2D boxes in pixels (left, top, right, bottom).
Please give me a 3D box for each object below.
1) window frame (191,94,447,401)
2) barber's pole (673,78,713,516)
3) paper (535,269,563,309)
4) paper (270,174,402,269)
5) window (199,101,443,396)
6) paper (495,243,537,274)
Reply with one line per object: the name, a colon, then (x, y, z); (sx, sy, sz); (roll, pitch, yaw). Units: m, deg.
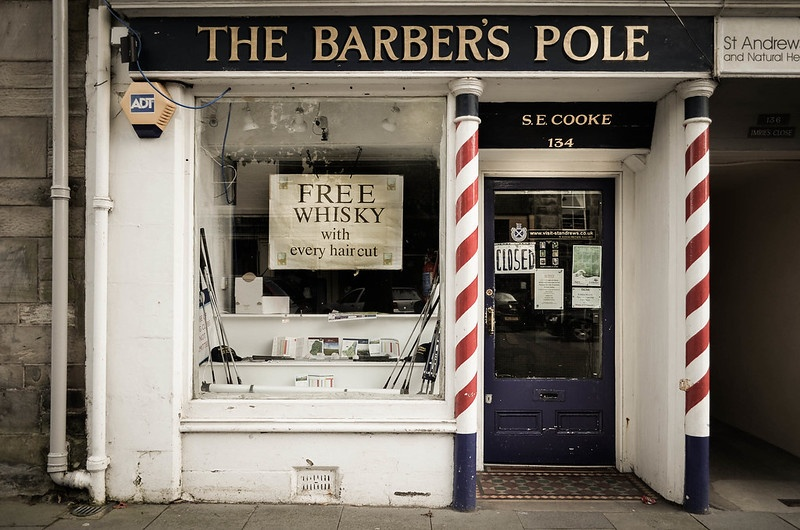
window frame: (-0.855, -0.146, 11.427); (3.241, 3.721, 0.093); (0, 0, 3)
barber's pole: (2.943, 0.215, 11.132); (0.550, 4.493, 0.428); (2, -5, -8)
paper: (1.576, 0.276, 11.813); (0.434, 0.553, 0.114); (1, -3, -3)
paper: (-0.683, -0.442, 11.547); (1.026, 0.698, 0.038); (0, 1, 1)
window: (-0.833, -0.138, 11.450); (3.047, 3.499, 0.085); (2, -2, -2)
paper: (1.231, -0.047, 11.824); (0.341, 0.230, 0.045); (0, -1, 1)
